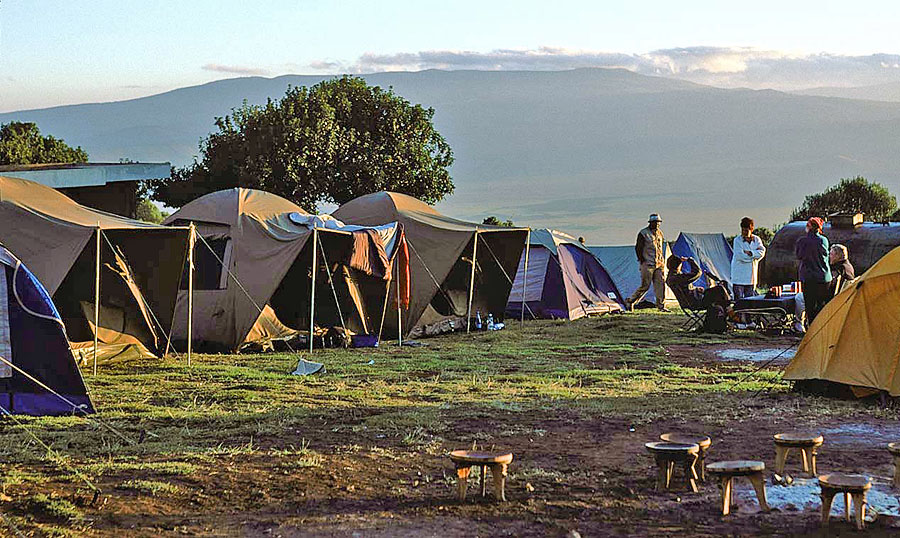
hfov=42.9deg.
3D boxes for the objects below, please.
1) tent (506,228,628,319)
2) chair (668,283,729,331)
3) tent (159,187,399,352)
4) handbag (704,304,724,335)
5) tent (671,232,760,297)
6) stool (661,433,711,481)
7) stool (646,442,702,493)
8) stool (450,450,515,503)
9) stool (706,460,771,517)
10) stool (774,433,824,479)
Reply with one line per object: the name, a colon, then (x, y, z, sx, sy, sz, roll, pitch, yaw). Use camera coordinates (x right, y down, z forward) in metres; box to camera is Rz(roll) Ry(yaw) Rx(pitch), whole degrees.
tent: (2.939, 0.205, 29.197, 2.448, 1.584, 2.497, 0, 3, 28)
chair: (5.629, 0.826, 25.753, 1.183, 1.259, 1.055, -3, 3, 0)
tent: (-3.692, 0.063, 24.001, 4.345, 2.518, 3.242, -2, 0, 30)
handbag: (5.837, 1.098, 25.275, 0.468, 0.424, 0.201, -2, 1, -14)
tent: (7.451, 0.061, 33.816, 2.092, 0.928, 2.040, 8, 13, -34)
stool: (3.405, 2.672, 16.521, 0.630, 0.488, 0.660, 0, 1, 6)
stool: (3.138, 2.758, 16.107, 0.685, 0.505, 0.687, -1, 0, 12)
stool: (0.438, 2.858, 15.897, 0.747, 0.496, 0.682, 2, -9, -9)
stool: (3.987, 2.997, 15.713, 0.734, 0.552, 0.724, -1, -6, -4)
stool: (5.005, 2.672, 16.602, 0.699, 0.537, 0.737, 3, 3, 9)
